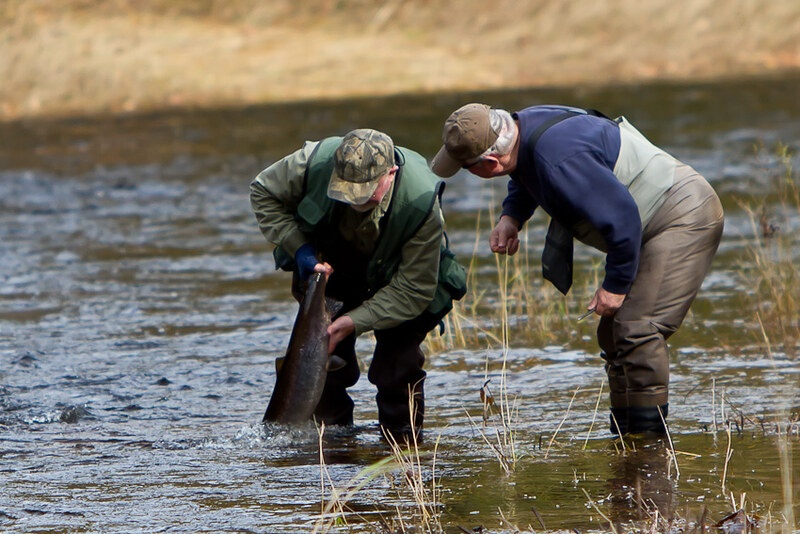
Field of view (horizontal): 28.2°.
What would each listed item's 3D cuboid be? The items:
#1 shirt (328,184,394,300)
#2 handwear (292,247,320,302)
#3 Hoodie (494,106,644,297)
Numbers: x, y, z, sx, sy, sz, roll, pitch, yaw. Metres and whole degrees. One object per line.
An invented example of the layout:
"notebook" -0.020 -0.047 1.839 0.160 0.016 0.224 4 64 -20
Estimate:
"shirt" -0.529 -0.208 20.034 0.902 1.404 0.566 9 13 24
"handwear" -1.179 0.083 20.025 0.209 0.624 0.483 29 -40 -20
"Hoodie" 2.175 -0.790 19.846 1.710 2.401 0.794 3 18 37
